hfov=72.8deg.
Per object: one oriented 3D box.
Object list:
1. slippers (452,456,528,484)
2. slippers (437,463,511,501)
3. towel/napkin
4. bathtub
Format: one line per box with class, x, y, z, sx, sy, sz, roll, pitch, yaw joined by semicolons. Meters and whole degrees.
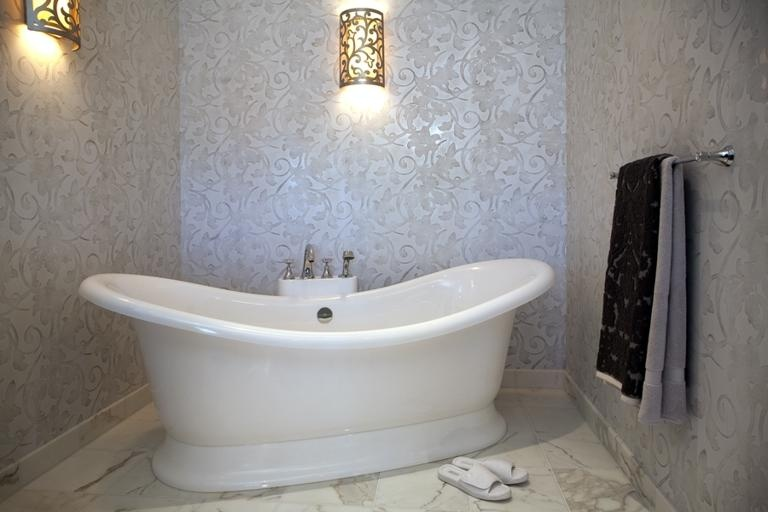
slippers;0.474;0.914;2.307;0.292;0.083;0.123;-4;1;31
slippers;0.371;0.947;2.230;0.255;0.088;0.126;0;5;32
towel/napkin;1.001;0.135;2.017;0.249;1.049;0.444;1;8;6
bathtub;-0.283;0.504;2.552;2.073;0.931;0.984;-3;8;-22
